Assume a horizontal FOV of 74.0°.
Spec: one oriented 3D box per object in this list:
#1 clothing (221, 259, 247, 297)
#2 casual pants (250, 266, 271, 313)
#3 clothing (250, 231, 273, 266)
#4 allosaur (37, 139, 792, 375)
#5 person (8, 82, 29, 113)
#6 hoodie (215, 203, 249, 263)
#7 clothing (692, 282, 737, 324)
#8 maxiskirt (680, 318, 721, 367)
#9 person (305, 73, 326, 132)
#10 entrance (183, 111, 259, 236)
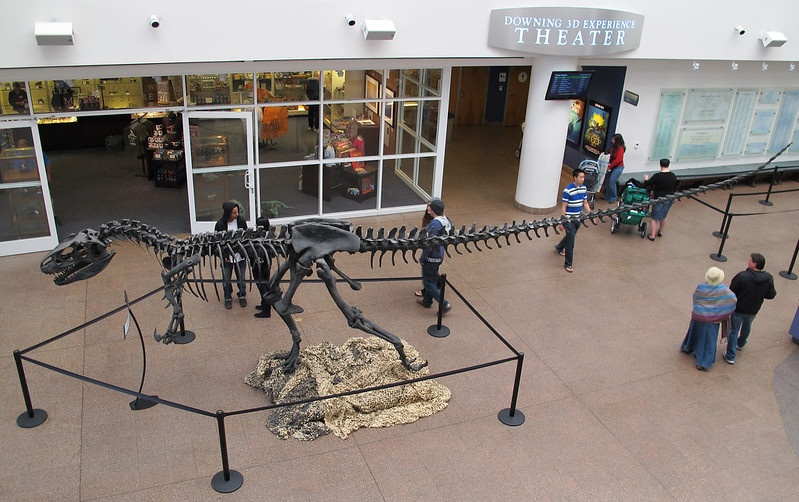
[{"bbox_3d":[-3.319,0.528,10.639,0.497,0.462,1.745,-13,-6,-28],"label":"clothing"},{"bbox_3d":[-2.715,0.756,10.383,0.295,1.035,0.342,-12,62,-31],"label":"casual pants"},{"bbox_3d":[-2.354,-0.065,9.217,0.515,0.636,0.200,2,2,7],"label":"clothing"},{"bbox_3d":[-1.617,0.349,10.458,8.664,2.807,3.637,-3,23,-8],"label":"allosaur"},{"bbox_3d":[-8.314,-3.327,11.582,0.460,0.605,0.150,-11,7,-12],"label":"person"},{"bbox_3d":[-3.426,-0.514,10.670,0.689,1.506,0.761,2,0,-5],"label":"hoodie"},{"bbox_3d":[5.959,0.979,10.154,0.838,0.744,0.565,3,7,37],"label":"clothing"},{"bbox_3d":[5.894,1.815,10.372,0.470,0.768,0.662,-16,34,-14],"label":"maxiskirt"},{"bbox_3d":[-2.250,-3.747,13.611,0.309,1.364,0.748,-19,30,-38],"label":"person"},{"bbox_3d":[-4.480,-2.176,13.127,1.701,3.081,0.546,-5,23,-16],"label":"entrance"}]
